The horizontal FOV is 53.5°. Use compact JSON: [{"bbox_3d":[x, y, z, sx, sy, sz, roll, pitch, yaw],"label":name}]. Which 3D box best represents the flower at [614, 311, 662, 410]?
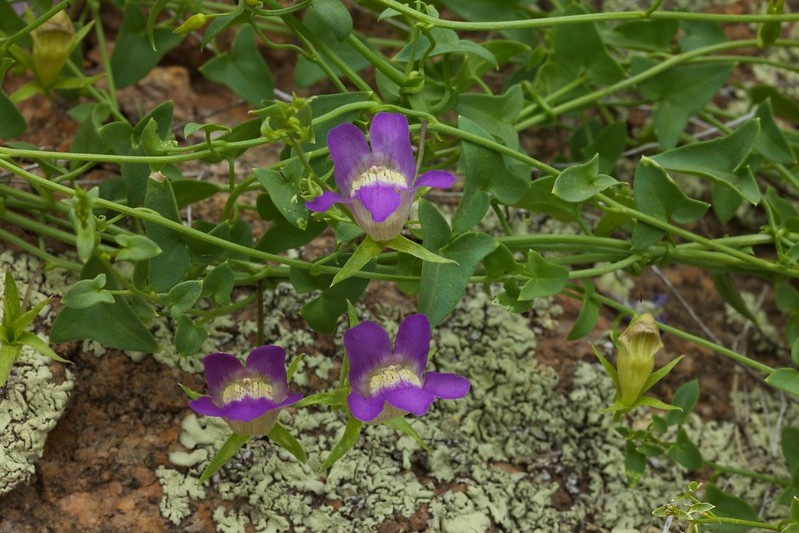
[{"bbox_3d":[0.618,0.254,2.081,0.101,0.302,0.090,10,26,22],"label":"flower"}]
